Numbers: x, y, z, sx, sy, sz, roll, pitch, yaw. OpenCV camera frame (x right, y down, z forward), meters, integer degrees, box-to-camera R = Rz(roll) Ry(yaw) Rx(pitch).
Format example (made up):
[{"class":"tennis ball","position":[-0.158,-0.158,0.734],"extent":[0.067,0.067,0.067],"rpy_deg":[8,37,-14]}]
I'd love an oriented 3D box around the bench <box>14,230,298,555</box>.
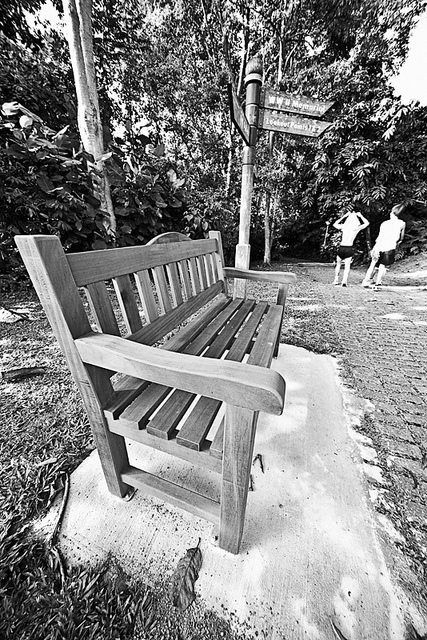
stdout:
[{"class":"bench","position":[0.033,0.099,2.242],"extent":[0.770,1.303,1.985],"rpy_deg":[10,22,14]}]

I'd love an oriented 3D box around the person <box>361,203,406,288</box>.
[{"class":"person","position":[2.937,-1.234,6.162],"extent":[0.557,1.538,2.236],"rpy_deg":[5,23,26]}]
